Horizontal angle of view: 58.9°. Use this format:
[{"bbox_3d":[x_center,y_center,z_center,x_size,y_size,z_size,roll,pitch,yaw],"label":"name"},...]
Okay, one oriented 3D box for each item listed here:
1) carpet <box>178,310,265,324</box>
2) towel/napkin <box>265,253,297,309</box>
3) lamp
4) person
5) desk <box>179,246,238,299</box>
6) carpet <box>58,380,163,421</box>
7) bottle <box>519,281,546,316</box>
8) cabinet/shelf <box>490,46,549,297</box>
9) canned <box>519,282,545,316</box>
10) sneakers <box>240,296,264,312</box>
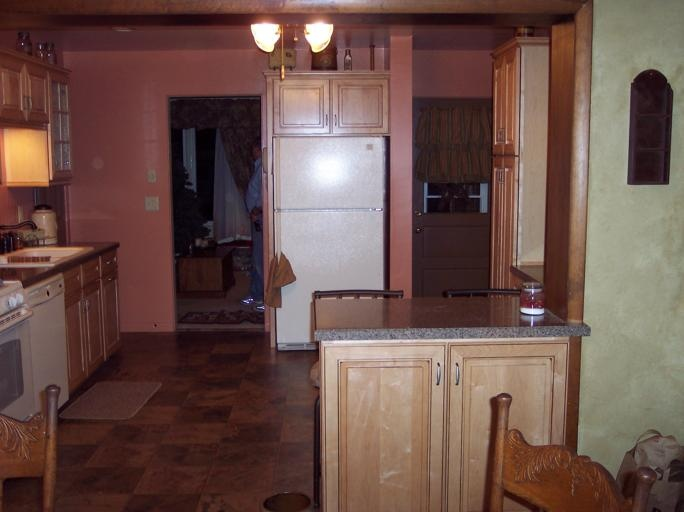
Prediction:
[{"bbox_3d":[-1.353,0.695,6.924,0.976,0.028,0.522,0,11,1],"label":"carpet"},{"bbox_3d":[-0.572,0.254,5.630,0.352,0.582,0.224,6,13,27],"label":"towel/napkin"},{"bbox_3d":[-0.371,-1.455,4.133,0.474,0.536,0.170,-1,-21,-17],"label":"lamp"},{"bbox_3d":[-1.100,-0.382,7.383,0.285,1.969,0.706,-2,11,-8],"label":"person"},{"bbox_3d":[-1.906,0.093,8.443,0.639,0.598,1.197,1,19,-5],"label":"desk"},{"bbox_3d":[-1.777,1.109,4.693,0.583,0.032,0.707,0,11,0],"label":"carpet"},{"bbox_3d":[0.967,0.210,3.061,0.131,0.154,0.132,-3,8,-11],"label":"bottle"},{"bbox_3d":[1.352,-0.657,4.582,0.307,1.917,0.856,-1,11,-2],"label":"cabinet/shelf"},{"bbox_3d":[0.965,0.210,3.039,0.119,0.163,0.103,2,11,9],"label":"canned"},{"bbox_3d":[-1.081,0.588,7.373,0.255,0.102,0.089,21,3,20],"label":"sneakers"}]
